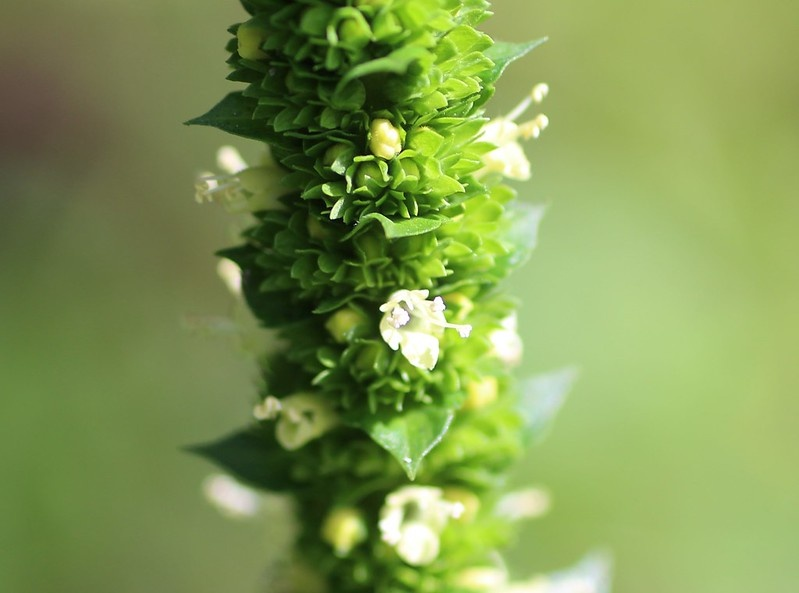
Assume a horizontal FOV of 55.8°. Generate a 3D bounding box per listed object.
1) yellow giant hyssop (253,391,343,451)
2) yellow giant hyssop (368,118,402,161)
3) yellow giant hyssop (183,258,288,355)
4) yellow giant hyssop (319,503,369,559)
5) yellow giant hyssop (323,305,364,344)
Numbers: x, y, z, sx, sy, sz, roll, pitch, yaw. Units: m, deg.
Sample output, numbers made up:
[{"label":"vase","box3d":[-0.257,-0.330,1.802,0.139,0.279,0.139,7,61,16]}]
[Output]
[{"label":"yellow giant hyssop","box3d":[-0.110,0.128,0.810,0.084,0.048,0.047,-14,-50,-7]},{"label":"yellow giant hyssop","box3d":[-0.013,-0.150,0.719,0.032,0.026,0.032,-18,-49,-5]},{"label":"yellow giant hyssop","box3d":[-0.184,0.022,0.854,0.093,0.030,0.115,12,-100,-21]},{"label":"yellow giant hyssop","box3d":[-0.059,0.255,0.814,0.054,0.015,0.048,-1,-91,2]},{"label":"yellow giant hyssop","box3d":[-0.057,0.029,0.780,0.041,0.025,0.031,-35,-89,22]}]
